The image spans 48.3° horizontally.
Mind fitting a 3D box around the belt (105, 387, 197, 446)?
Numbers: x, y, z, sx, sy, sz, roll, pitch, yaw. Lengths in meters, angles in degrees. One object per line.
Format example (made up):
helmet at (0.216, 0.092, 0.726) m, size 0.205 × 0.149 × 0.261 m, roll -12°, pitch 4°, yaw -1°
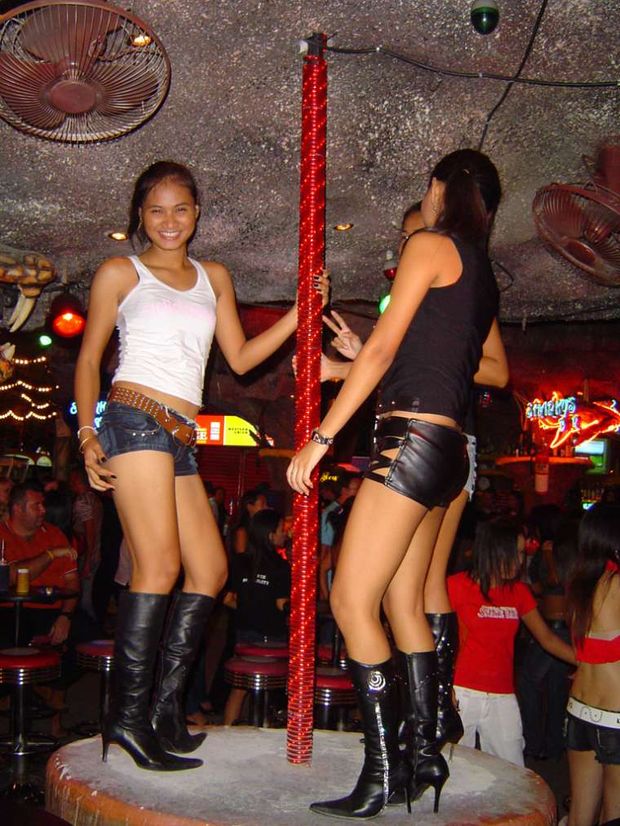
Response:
belt at (-0.521, -0.030, 2.323) m, size 0.217 × 0.051 × 0.209 m, roll 19°, pitch 7°, yaw 14°
